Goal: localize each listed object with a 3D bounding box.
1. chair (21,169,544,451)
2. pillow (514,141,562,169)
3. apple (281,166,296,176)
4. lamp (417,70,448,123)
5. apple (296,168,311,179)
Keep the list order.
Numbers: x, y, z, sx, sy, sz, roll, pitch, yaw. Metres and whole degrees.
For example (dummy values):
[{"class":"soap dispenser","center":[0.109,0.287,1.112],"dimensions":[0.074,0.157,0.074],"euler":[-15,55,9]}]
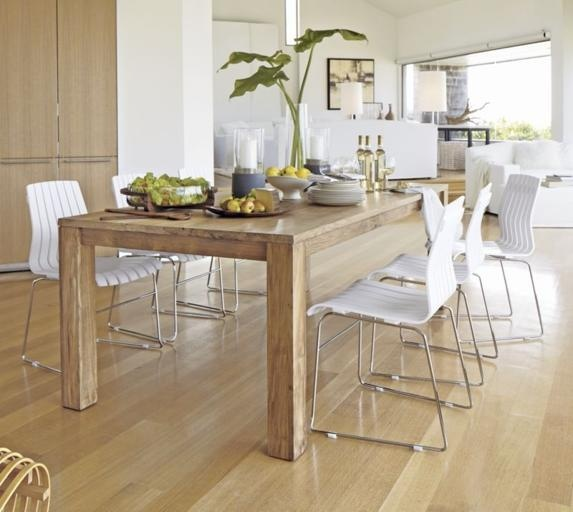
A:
[{"class":"chair","center":[-0.603,0.048,2.707],"dimensions":[2.494,0.898,1.661],"euler":[5,13,24]},{"class":"pillow","center":[3.582,-1.453,7.147],"dimensions":[0.594,0.401,0.414],"euler":[4,13,21]},{"class":"apple","center":[0.010,-0.434,2.576],"dimensions":[0.057,0.037,0.068],"euler":[2,5,17]},{"class":"lamp","center":[1.973,-2.245,6.809],"dimensions":[0.362,0.536,0.297],"euler":[1,13,10]},{"class":"apple","center":[0.073,-0.423,2.631],"dimensions":[0.071,0.062,0.068],"euler":[7,6,-16]}]
